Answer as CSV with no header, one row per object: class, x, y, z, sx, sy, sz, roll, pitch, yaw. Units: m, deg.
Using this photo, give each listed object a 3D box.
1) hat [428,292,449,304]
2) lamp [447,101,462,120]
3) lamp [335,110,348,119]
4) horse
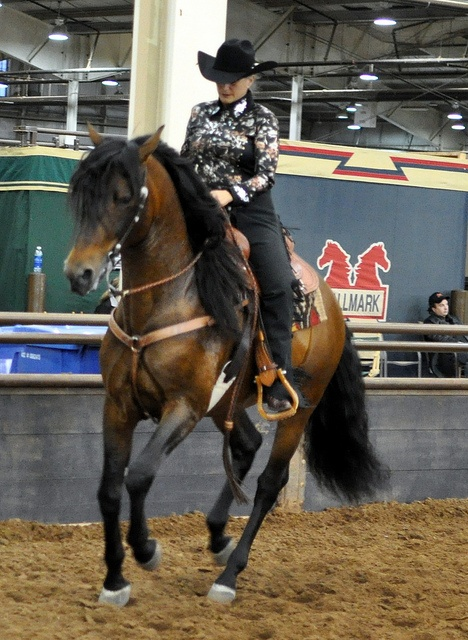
hat,2.026,-0.206,8.680,0.137,0.068,0.168,-12,1,-16
lamp,4.739,-4.446,18.617,0.472,0.317,0.395,0,-3,3
lamp,2.521,-4.788,20.517,0.261,0.178,0.247,6,7,34
horse,-0.024,0.244,4.398,0.826,2.012,2.869,9,5,35
